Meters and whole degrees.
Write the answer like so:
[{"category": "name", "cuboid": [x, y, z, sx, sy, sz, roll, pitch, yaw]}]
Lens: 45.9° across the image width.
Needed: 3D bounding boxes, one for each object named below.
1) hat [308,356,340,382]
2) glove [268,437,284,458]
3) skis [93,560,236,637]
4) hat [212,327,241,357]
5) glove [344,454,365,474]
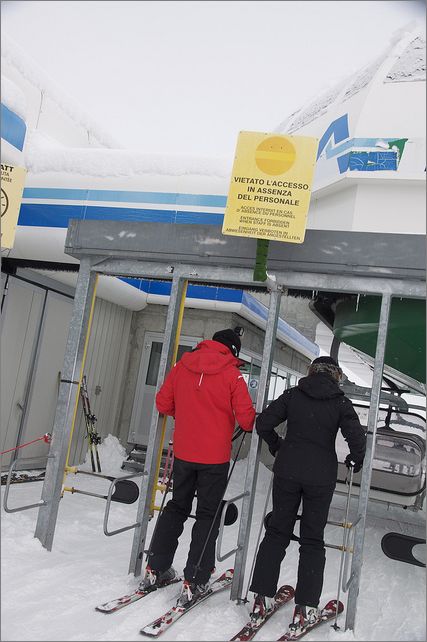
[{"category": "hat", "cuboid": [0.698, 0.288, 3.207, 0.137, 0.196, 0.196, 12, 3, 21]}, {"category": "glove", "cuboid": [0.392, 0.790, 3.183, 0.116, 0.137, 0.153, 0, 8, 5]}, {"category": "skis", "cuboid": [-0.182, 1.667, 2.985, 0.270, 0.120, 0.818, 0, 5, 32]}, {"category": "hat", "cuboid": [0.118, 0.131, 3.439, 0.149, 0.165, 0.214, -2, -38, 36]}, {"category": "glove", "cuboid": [0.831, 0.850, 2.982, 0.100, 0.130, 0.051, -6, 19, 1]}]
